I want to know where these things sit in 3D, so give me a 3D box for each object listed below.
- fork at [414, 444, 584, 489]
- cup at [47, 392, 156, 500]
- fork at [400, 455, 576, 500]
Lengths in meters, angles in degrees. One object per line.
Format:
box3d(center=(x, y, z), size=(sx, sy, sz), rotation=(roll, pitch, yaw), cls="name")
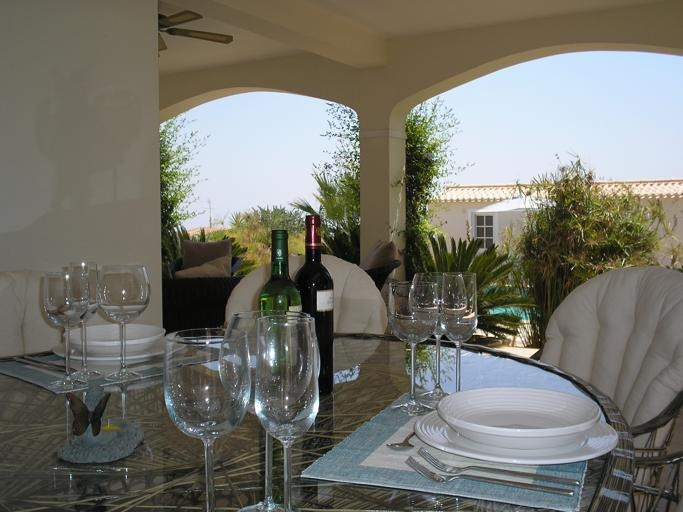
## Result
box3d(center=(0.255, 0.331, 0.824), size=(0.210, 0.036, 0.027), rotation=(5, 7, 15), cls="fork")
box3d(center=(-0.412, 0.325, 0.894), size=(0.112, 0.139, 0.060), rotation=(0, -10, 1), cls="cup")
box3d(center=(0.228, 0.340, 0.802), size=(0.151, 0.021, 0.020), rotation=(8, 10, 17), cls="fork")
